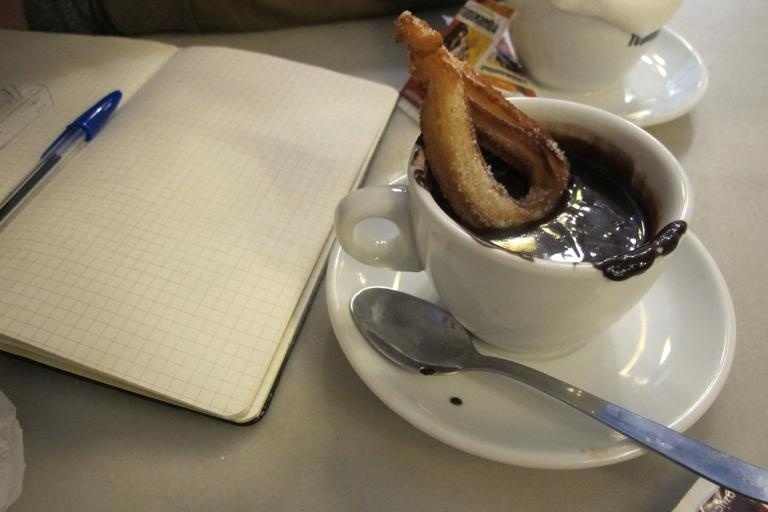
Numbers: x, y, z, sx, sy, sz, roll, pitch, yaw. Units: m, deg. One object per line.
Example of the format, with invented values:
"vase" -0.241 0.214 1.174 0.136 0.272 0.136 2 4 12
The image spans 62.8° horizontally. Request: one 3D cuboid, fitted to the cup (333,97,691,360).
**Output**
"cup" 0.133 0.002 0.799 0.357 0.198 0.318 -3 49 -2
